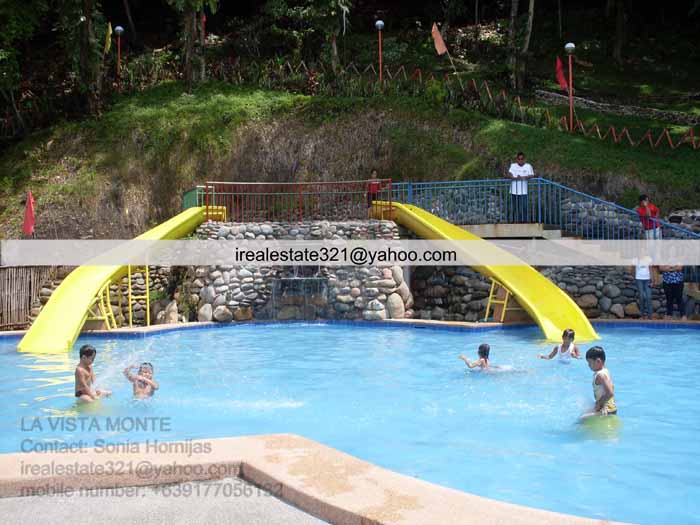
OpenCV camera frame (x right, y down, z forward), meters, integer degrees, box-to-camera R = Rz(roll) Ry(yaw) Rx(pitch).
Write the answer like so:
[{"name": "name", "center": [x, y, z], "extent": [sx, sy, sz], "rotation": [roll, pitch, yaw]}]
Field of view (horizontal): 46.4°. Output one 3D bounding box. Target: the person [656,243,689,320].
[{"name": "person", "center": [8.381, 0.476, 21.096], "extent": [0.753, 1.839, 1.009], "rotation": [3, 10, 19]}]

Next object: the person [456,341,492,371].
[{"name": "person", "center": [2.666, 1.888, 16.981], "extent": [0.537, 0.640, 0.993], "rotation": [1, 11, 6]}]

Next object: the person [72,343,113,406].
[{"name": "person", "center": [-4.978, 1.989, 15.404], "extent": [0.801, 1.526, 0.892], "rotation": [0, 5, -12]}]

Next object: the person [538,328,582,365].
[{"name": "person", "center": [4.672, 1.855, 18.028], "extent": [0.454, 0.813, 0.290], "rotation": [10, -12, 21]}]

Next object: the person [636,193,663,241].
[{"name": "person", "center": [8.011, -1.254, 21.717], "extent": [0.658, 1.164, 0.804], "rotation": [4, 11, 22]}]

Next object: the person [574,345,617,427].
[{"name": "person", "center": [4.383, 2.076, 14.297], "extent": [0.497, 1.368, 0.645], "rotation": [7, 12, 37]}]

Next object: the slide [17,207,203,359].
[{"name": "slide", "center": [-6.203, 0.352, 21.246], "extent": [1.412, 0.928, 6.783], "rotation": [8, 31, 10]}]

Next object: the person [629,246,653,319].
[{"name": "person", "center": [7.611, 0.525, 21.099], "extent": [0.556, 1.665, 0.605], "rotation": [4, 10, 22]}]
